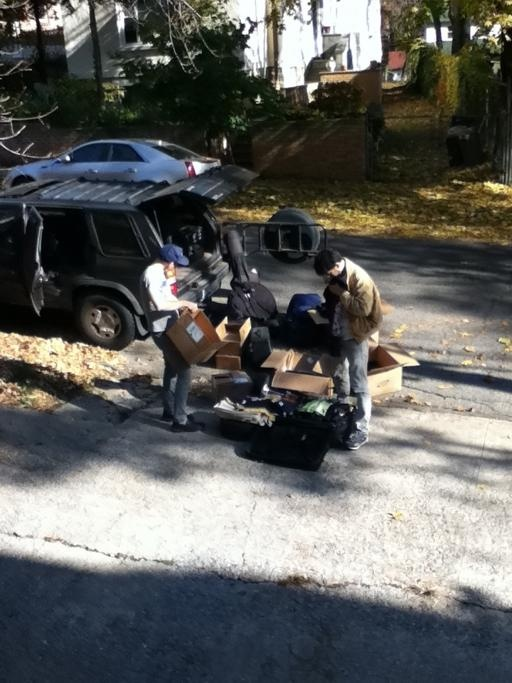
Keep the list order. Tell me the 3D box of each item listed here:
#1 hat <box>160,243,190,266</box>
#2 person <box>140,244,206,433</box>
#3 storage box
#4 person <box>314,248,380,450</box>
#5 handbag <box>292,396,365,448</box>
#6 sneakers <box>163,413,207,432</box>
[{"bbox_3d":[-0.737,-0.761,5.257,0.208,0.207,0.328,-2,20,2],"label":"hat"},{"bbox_3d":[-0.724,-0.020,5.268,0.463,1.618,0.721,-8,22,-9],"label":"person"},{"bbox_3d":[0.421,0.265,5.823,1.792,0.349,1.162,10,27,-9],"label":"storage box"},{"bbox_3d":[0.771,0.042,4.974,0.525,1.661,0.792,0,22,10],"label":"person"},{"bbox_3d":[0.684,0.664,5.064,0.470,0.128,0.433,4,25,-8],"label":"handbag"},{"bbox_3d":[-0.613,0.755,5.273,0.227,0.066,0.214,-6,18,-22],"label":"sneakers"}]
